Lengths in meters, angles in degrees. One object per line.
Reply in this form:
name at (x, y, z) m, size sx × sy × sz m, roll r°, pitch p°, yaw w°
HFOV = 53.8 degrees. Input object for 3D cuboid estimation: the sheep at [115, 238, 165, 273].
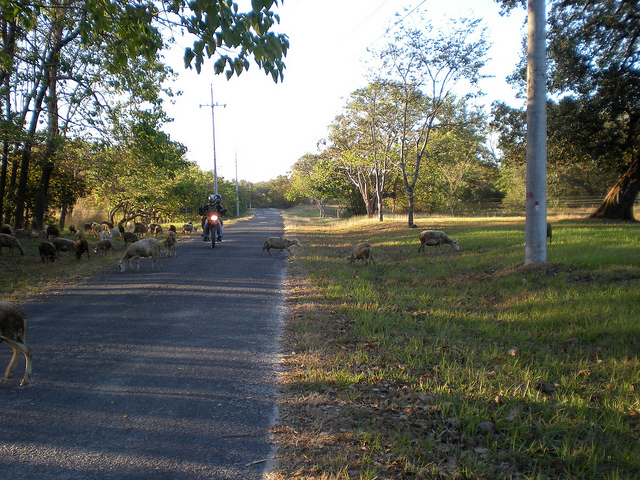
sheep at (-6.421, 0.555, 22.383) m, size 1.639 × 1.206 × 0.481 m, roll -12°, pitch 3°, yaw -25°

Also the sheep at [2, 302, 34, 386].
sheep at (-6.171, 2.043, 12.844) m, size 0.578 × 1.648 × 0.914 m, roll -4°, pitch 4°, yaw -25°

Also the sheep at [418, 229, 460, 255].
sheep at (4.591, 0.015, 24.784) m, size 1.430 × 0.823 × 1.499 m, roll -2°, pitch 3°, yaw 15°

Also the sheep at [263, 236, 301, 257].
sheep at (-1.711, 0.209, 26.932) m, size 1.447 × 0.722 × 2.434 m, roll -3°, pitch 3°, yaw -1°

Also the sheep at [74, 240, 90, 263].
sheep at (-9.433, 0.370, 25.013) m, size 0.510 × 0.808 × 1.043 m, roll -4°, pitch 3°, yaw -21°

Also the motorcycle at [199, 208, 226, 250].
motorcycle at (-4.752, -0.735, 28.069) m, size 0.969 × 1.298 × 1.944 m, roll -1°, pitch 3°, yaw -7°

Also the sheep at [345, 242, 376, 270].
sheep at (1.495, 0.509, 21.665) m, size 0.668 × 0.871 × 1.224 m, roll -3°, pitch 3°, yaw -12°

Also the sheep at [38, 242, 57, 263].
sheep at (-10.510, 0.427, 24.318) m, size 0.520 × 0.781 × 1.228 m, roll -4°, pitch 3°, yaw -24°
